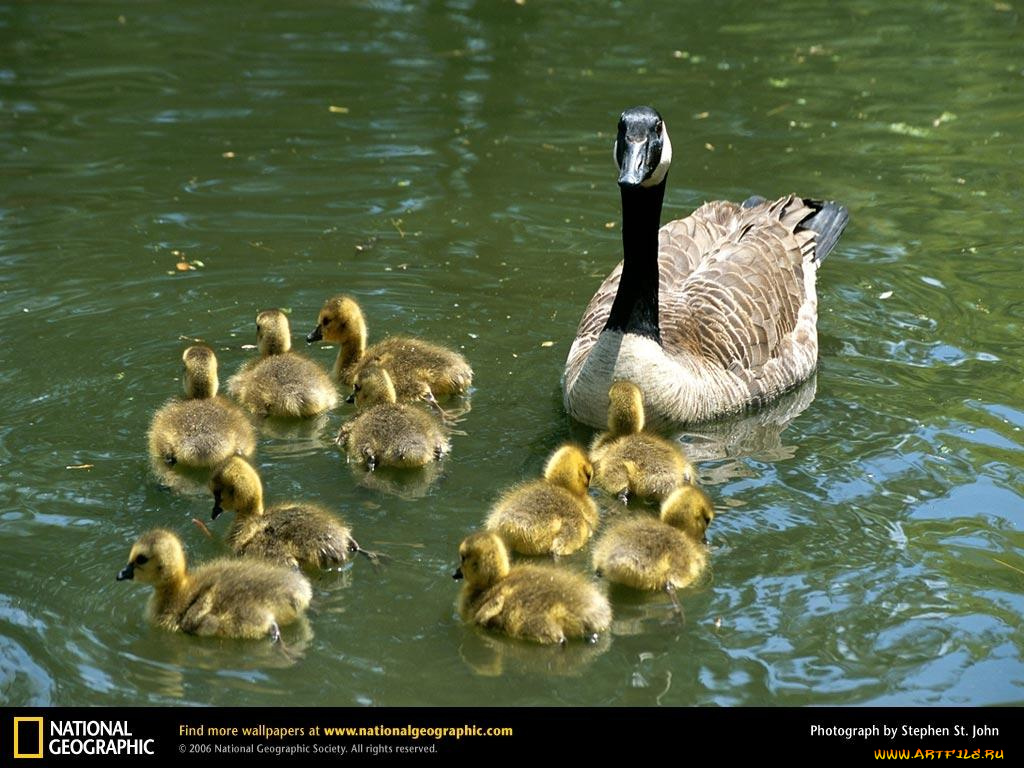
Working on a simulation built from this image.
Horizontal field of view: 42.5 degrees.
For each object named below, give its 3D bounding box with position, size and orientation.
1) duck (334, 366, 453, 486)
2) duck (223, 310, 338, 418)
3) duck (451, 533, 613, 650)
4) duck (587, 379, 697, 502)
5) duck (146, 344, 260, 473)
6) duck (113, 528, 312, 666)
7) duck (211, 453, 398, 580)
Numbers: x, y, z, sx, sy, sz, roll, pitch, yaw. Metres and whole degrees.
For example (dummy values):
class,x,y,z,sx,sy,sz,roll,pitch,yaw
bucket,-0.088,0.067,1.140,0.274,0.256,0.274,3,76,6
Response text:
class,x,y,z,sx,sy,sz,roll,pitch,yaw
duck,-1.005,0.277,10.863,0.969,0.497,1.206,-12,33,-16
duck,-1.972,-0.071,11.158,0.898,0.665,1.055,-5,27,-13
duck,0.183,1.394,9.012,1.122,0.536,0.670,8,23,30
duck,0.999,0.485,10.551,0.727,0.669,1.093,-6,15,-16
duck,-2.529,0.175,10.710,0.867,0.726,1.111,-2,33,-10
duck,-1.985,1.389,9.114,1.285,0.655,0.709,0,11,1
duck,-1.637,1.036,9.726,1.412,0.785,0.755,9,17,-17
